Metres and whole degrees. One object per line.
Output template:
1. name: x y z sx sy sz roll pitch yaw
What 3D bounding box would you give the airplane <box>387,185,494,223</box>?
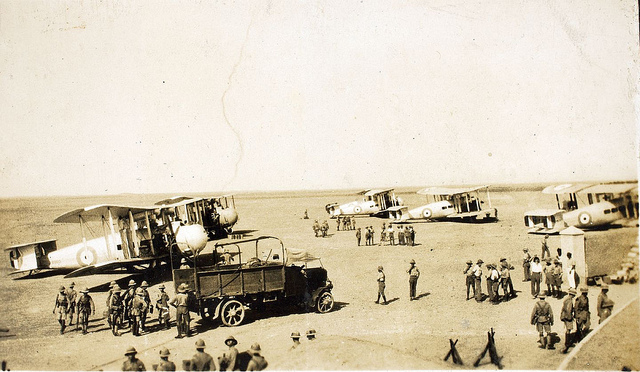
1. airplane: 9.236 1.447 46.146 5.411 2.783 9.593 -6 0 -26

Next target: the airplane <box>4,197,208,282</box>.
1. airplane: -11.692 3.372 35.867 10.499 4.562 7.206 -6 0 -11

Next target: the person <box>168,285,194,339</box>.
1. person: -6.848 6.246 31.580 0.963 2.578 0.694 -6 -1 -6

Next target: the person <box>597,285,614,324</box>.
1. person: 14.138 5.778 31.508 0.716 1.971 1.045 -6 0 19
